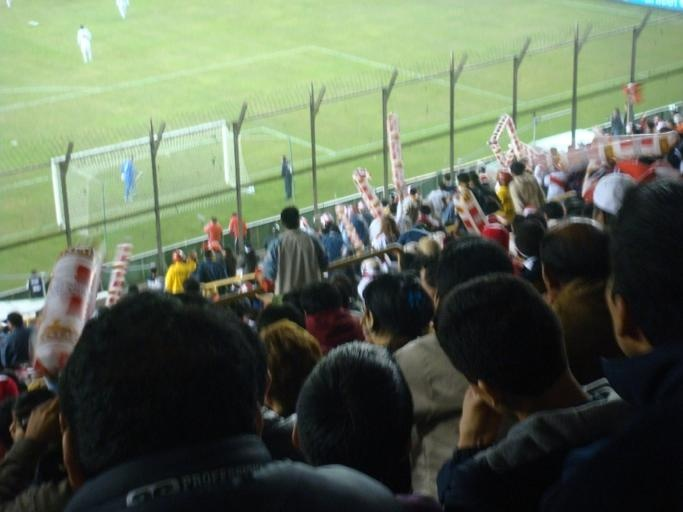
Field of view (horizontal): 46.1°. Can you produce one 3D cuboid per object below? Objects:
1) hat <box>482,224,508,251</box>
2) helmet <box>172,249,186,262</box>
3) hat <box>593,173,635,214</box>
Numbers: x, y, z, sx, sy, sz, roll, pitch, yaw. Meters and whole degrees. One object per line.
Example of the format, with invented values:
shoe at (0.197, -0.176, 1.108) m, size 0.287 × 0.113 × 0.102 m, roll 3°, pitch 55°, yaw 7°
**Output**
hat at (0.838, -0.103, 4.376) m, size 0.081 × 0.137 × 0.135 m, roll -8°, pitch -38°, yaw 14°
helmet at (-1.917, -0.007, 9.371) m, size 0.087 × 0.134 × 0.122 m, roll 7°, pitch 8°, yaw 11°
hat at (1.410, -0.332, 4.203) m, size 0.225 × 0.207 × 0.381 m, roll -6°, pitch -3°, yaw 33°
